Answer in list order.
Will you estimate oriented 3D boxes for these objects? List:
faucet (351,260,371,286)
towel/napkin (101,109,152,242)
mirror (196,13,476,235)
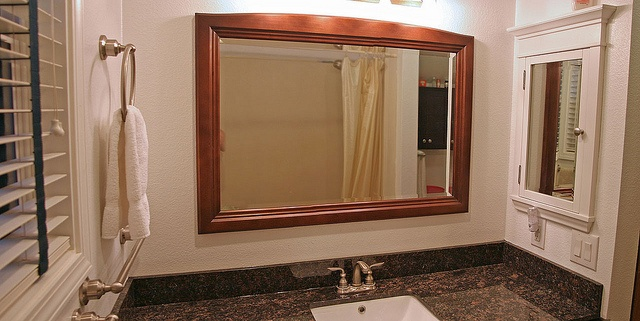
[{"bbox_3d":[0.252,0.706,2.444,0.113,0.152,0.089,-2,12,-7],"label":"faucet"},{"bbox_3d":[-0.938,0.050,1.857,0.236,0.625,0.279,-6,13,-21],"label":"towel/napkin"},{"bbox_3d":[0.034,-0.259,2.395,1.871,1.030,0.061,-1,2,-12],"label":"mirror"}]
